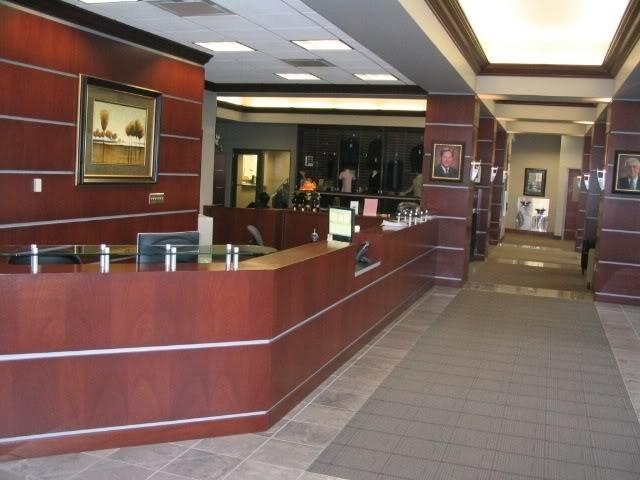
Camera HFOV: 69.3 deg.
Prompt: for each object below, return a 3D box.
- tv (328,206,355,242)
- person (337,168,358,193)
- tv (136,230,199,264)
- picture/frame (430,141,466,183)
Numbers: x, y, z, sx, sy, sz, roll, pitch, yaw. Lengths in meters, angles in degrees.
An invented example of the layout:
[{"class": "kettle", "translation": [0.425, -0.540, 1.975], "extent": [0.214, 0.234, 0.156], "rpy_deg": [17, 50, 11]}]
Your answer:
[{"class": "tv", "translation": [0.237, -0.169, 5.136], "extent": [0.071, 0.381, 0.366], "rpy_deg": [-3, 8, -40]}, {"class": "person", "translation": [0.818, -1.827, 14.074], "extent": [0.518, 0.698, 0.930], "rpy_deg": [6, 10, 4]}, {"class": "tv", "translation": [-1.165, 0.043, 3.593], "extent": [0.457, 0.184, 0.458], "rpy_deg": [3, 10, -21]}, {"class": "picture/frame", "translation": [2.472, -1.517, 8.864], "extent": [0.717, 0.957, 0.098], "rpy_deg": [2, 7, 11]}]
